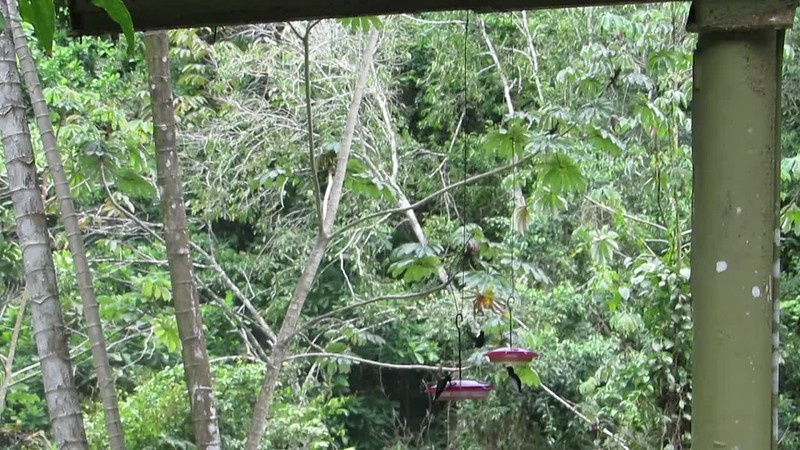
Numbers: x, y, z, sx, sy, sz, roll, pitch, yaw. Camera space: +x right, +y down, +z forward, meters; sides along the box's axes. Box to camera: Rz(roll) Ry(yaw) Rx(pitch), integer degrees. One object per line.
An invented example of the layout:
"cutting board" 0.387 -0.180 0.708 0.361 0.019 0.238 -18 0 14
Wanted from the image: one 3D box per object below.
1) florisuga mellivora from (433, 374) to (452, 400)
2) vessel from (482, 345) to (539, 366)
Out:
"florisuga mellivora" 0.390 1.459 11.667 0.149 0.223 0.238 -4 12 2
"vessel" 1.030 1.218 11.810 0.474 0.204 0.270 -3 12 6
